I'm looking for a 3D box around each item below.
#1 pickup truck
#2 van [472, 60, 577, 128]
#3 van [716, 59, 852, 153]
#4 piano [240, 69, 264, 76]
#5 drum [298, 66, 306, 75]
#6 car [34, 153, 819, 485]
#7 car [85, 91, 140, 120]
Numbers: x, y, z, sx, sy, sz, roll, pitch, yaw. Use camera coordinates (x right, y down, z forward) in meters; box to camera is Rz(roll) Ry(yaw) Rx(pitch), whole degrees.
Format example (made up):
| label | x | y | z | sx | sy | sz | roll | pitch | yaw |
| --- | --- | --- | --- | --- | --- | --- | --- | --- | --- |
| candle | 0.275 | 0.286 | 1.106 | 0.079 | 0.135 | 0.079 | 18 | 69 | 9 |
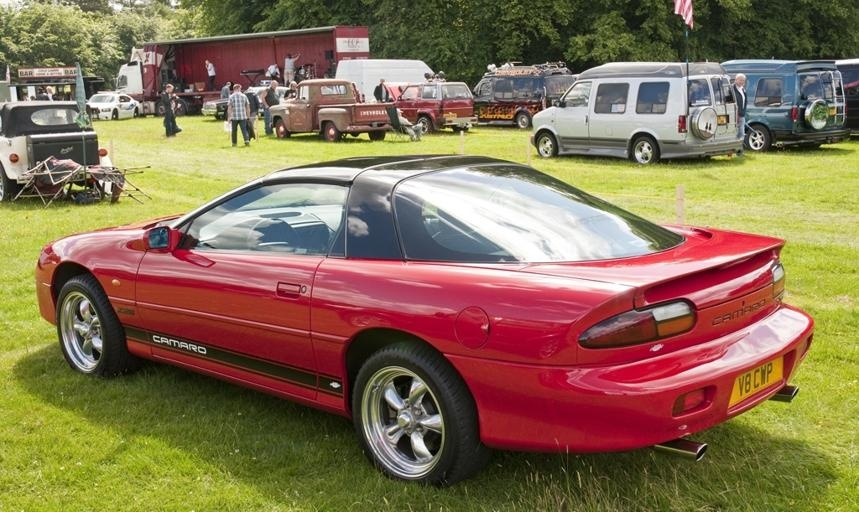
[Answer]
| label | x | y | z | sx | sy | sz | roll | pitch | yaw |
| --- | --- | --- | --- | --- | --- | --- | --- | --- | --- |
| pickup truck | -3.633 | -5.238 | 26.341 | 4.580 | 2.204 | 1.423 | 6 | 9 | 30 |
| van | 3.758 | -6.714 | 31.324 | 4.431 | 2.616 | 2.337 | 13 | 14 | 43 |
| van | 10.188 | -4.766 | 21.932 | 2.151 | 2.119 | 3.988 | -11 | 26 | -29 |
| piano | -9.282 | -9.536 | 37.988 | 1.632 | 0.360 | 0.397 | 7 | 11 | 37 |
| drum | -6.208 | -8.930 | 35.217 | 0.143 | 0.455 | 0.472 | -5 | 10 | -37 |
| car | 0.120 | 0.524 | 6.740 | 5.911 | 2.654 | 1.631 | 5 | 9 | 26 |
| car | -17.289 | -8.251 | 40.203 | 1.536 | 1.029 | 2.491 | 6 | 8 | 23 |
